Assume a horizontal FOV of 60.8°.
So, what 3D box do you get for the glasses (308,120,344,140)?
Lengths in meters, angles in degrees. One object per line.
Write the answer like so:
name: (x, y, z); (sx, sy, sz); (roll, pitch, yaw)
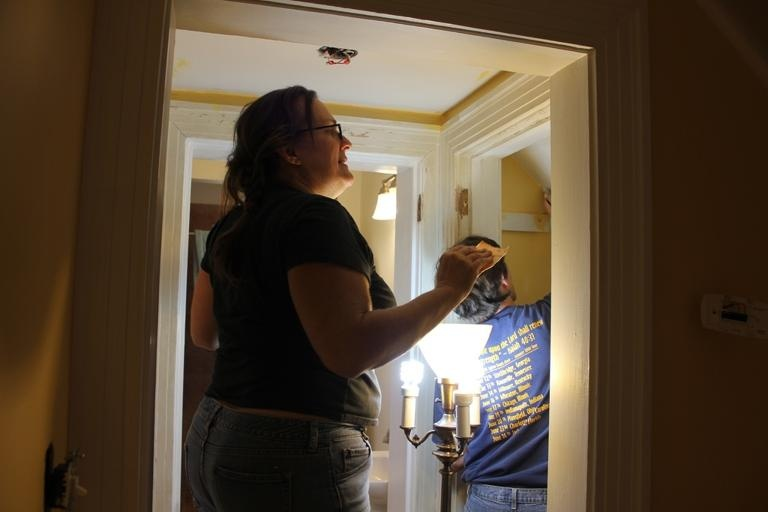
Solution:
glasses: (-0.144, -0.328, 1.689); (0.063, 0.021, 0.063); (-8, 6, -16)
